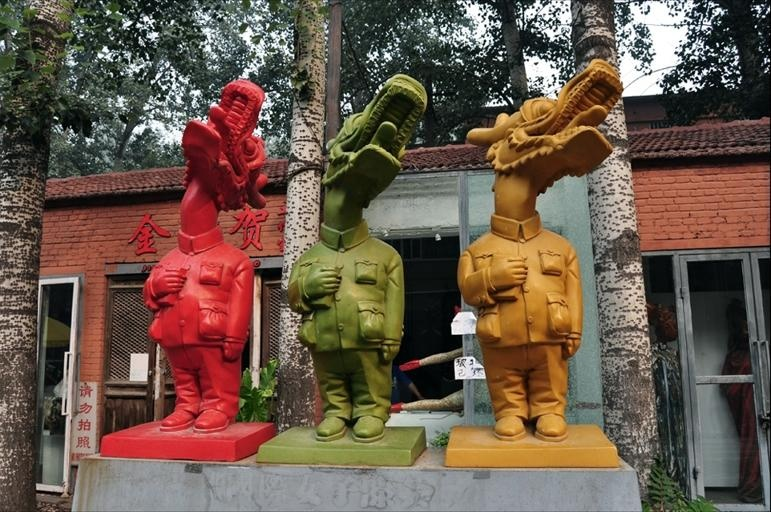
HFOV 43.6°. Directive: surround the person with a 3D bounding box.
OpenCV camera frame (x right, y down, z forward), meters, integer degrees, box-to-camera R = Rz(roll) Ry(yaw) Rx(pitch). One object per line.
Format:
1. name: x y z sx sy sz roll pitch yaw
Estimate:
1. person: 4.461 1.819 12.093 0.426 2.522 0.189 -3 -9 20
